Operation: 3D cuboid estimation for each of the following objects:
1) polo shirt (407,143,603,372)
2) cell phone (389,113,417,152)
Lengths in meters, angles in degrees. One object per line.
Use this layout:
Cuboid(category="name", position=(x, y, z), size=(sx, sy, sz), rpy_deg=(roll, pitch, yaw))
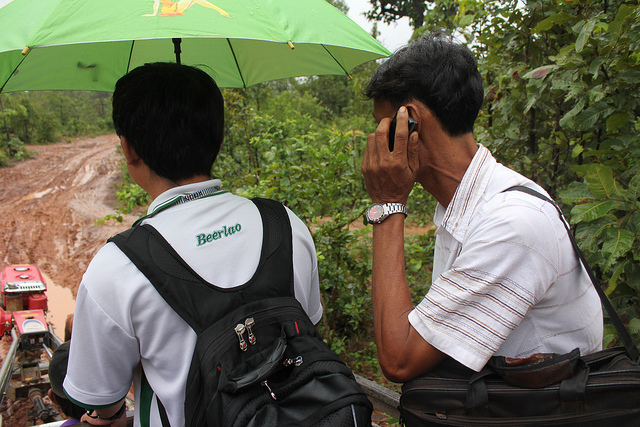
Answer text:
Cuboid(category="polo shirt", position=(1.046, 0.235, 2.960), size=(0.930, 1.155, 1.383), rpy_deg=(-4, 8, 15))
Cuboid(category="cell phone", position=(0.435, -0.418, 2.686), size=(0.107, 0.204, 0.108), rpy_deg=(14, 16, -33))
